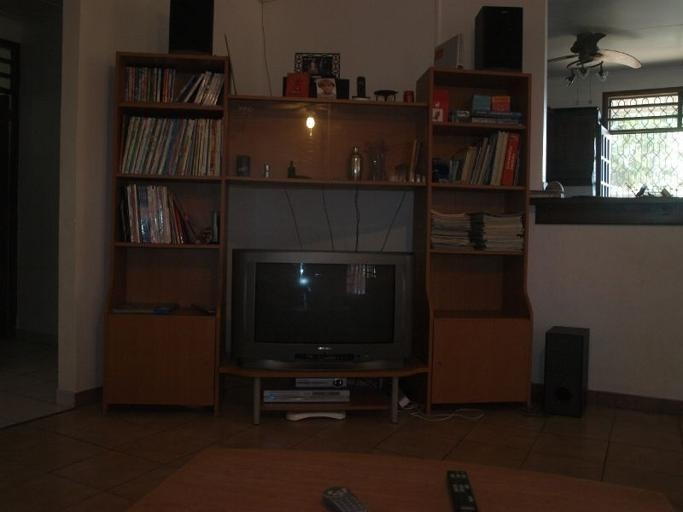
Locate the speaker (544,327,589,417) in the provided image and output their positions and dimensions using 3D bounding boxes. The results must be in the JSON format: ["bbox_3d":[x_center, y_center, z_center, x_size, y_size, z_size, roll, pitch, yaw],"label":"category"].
[{"bbox_3d":[1.465,0.773,4.070,0.248,0.544,0.133,2,11,5],"label":"speaker"}]

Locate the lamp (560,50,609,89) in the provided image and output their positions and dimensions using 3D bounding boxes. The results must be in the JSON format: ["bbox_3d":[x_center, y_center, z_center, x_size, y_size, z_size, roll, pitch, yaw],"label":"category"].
[{"bbox_3d":[2.864,-2.230,7.274,0.562,0.223,0.605,17,4,15],"label":"lamp"}]

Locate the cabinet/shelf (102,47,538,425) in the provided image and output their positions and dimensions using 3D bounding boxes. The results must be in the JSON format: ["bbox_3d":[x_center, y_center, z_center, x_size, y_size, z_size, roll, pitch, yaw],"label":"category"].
[{"bbox_3d":[-0.133,-0.090,4.195,2.548,2.126,0.834,0,-2,-6],"label":"cabinet/shelf"}]

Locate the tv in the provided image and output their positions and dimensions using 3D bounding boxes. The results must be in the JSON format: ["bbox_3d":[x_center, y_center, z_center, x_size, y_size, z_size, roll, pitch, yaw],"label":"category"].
[{"bbox_3d":[-0.133,0.391,4.193,1.284,0.862,0.693,1,3,-1],"label":"tv"}]
